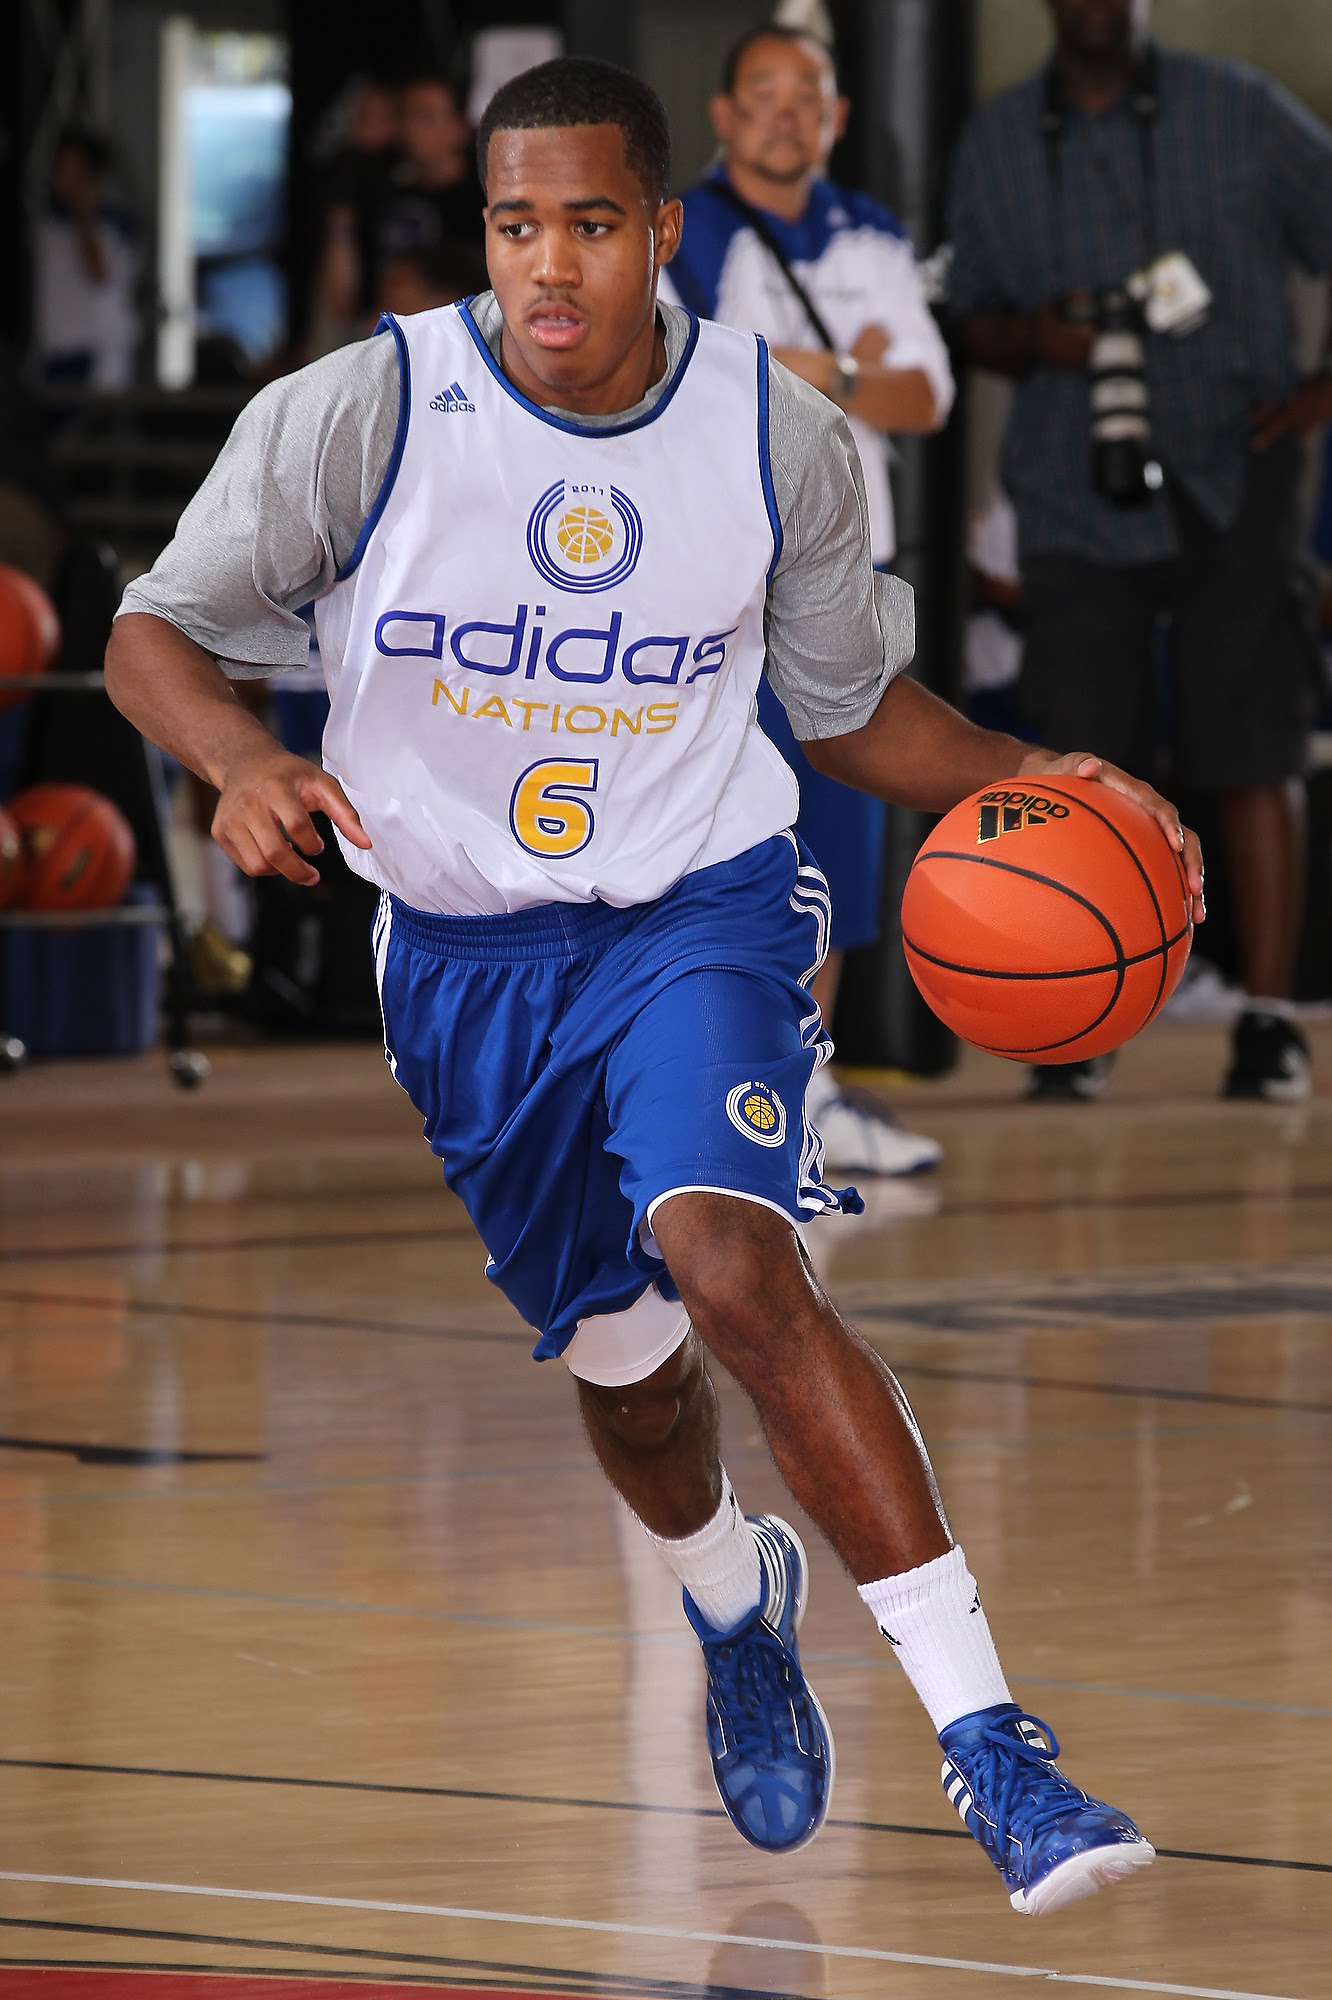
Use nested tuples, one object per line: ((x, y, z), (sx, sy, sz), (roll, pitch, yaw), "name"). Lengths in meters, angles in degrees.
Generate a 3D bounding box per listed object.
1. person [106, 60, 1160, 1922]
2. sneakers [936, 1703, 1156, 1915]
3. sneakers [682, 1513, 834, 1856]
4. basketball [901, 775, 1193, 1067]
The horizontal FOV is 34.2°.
((-0.051, -0.065, 1.318), (0.629, 1.081, 0.569), (1, 3, 12), "person")
((0.162, 0.366, 1.002), (0.049, 0.059, 0.135), (-25, 1, -10), "sneakers")
((0.059, 0.428, 1.299), (0.048, 0.048, 0.155), (-19, 24, 10), "sneakers")
((0.255, -0.050, 1.448), (0.200, 0.180, 0.185), (2, 23, 22), "basketball")
